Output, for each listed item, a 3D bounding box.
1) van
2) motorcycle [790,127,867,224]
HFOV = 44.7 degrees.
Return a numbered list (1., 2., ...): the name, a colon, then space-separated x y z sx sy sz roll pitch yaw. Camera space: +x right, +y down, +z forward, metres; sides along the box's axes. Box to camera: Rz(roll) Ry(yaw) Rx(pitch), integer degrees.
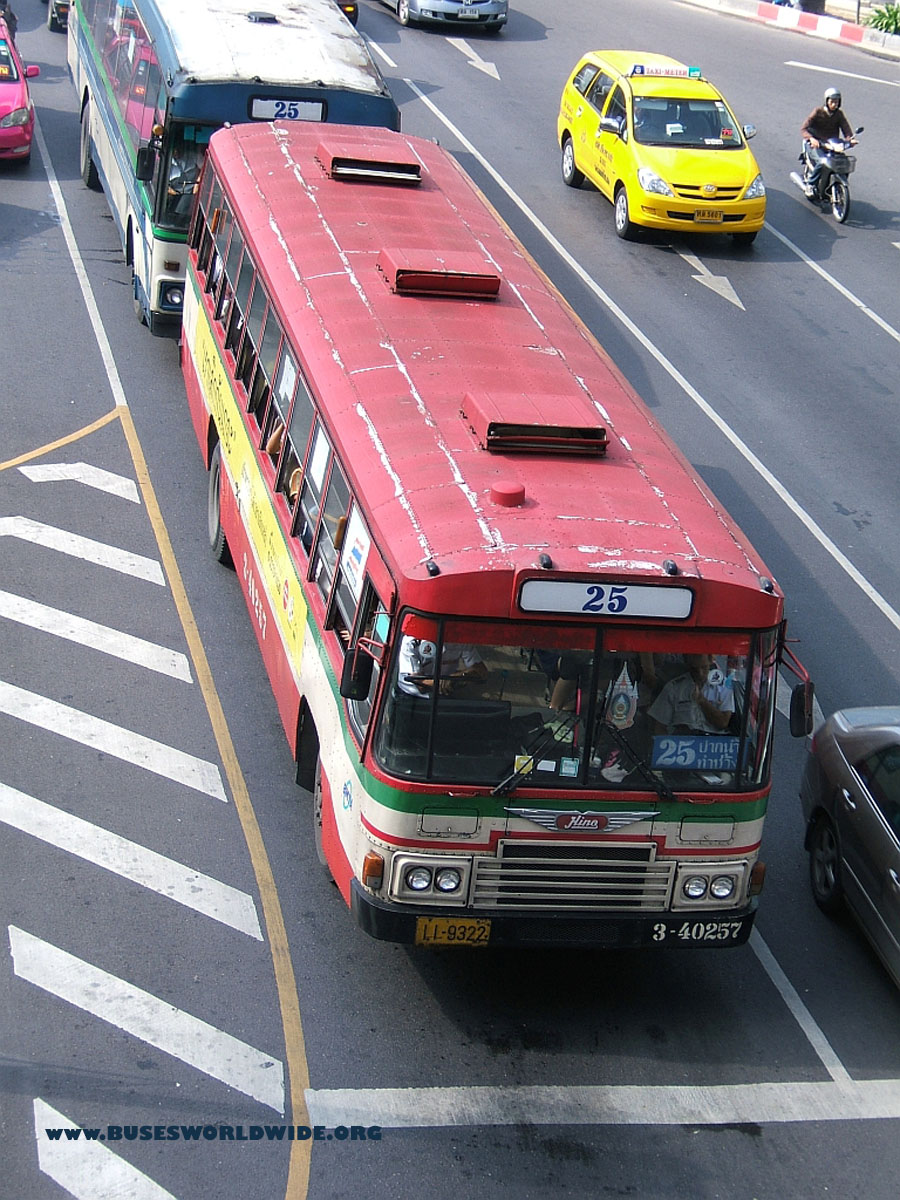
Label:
1. van: 3.836 -8.401 20.762 2.415 2.545 5.123 -3 34 -14
2. motorcycle: 7.740 -8.362 21.656 0.930 1.490 2.313 -1 36 -10
